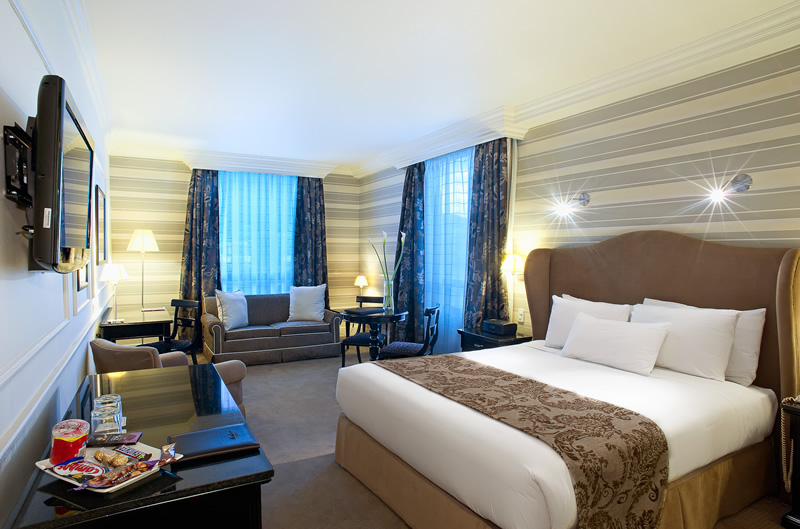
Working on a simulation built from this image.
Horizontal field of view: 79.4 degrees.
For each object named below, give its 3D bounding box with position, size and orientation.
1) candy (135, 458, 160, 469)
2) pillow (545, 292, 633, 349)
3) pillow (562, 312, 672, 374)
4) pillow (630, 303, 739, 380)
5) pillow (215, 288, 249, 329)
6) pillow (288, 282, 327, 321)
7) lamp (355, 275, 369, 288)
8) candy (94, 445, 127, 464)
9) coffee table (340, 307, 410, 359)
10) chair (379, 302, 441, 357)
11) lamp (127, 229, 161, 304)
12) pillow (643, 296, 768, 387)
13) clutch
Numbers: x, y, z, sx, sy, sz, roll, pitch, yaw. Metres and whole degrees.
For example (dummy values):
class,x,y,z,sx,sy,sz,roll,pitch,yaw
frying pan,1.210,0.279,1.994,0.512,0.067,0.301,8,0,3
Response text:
class,x,y,z,sx,sy,sz,roll,pitch,yaw
candy,-1.176,0.933,2.241,0.051,0.023,0.069,1,-5,1
pillow,1.712,0.514,4.306,0.179,0.371,0.502,16,-6,-33
pillow,1.783,0.635,3.956,0.180,0.415,0.605,36,-16,-30
pillow,2.238,0.632,3.753,0.200,0.381,0.562,12,-6,-35
pillow,-2.343,0.652,6.737,0.181,0.396,0.512,-9,-7,15
pillow,-1.399,0.599,7.337,0.526,0.499,0.184,-4,-30,-3
lamp,-0.613,0.294,8.094,0.217,0.195,0.211,-1,3,-21
candy,-1.353,0.906,2.265,0.134,0.051,0.085,29,-18,-39
coffee table,-0.262,0.794,6.254,0.748,0.743,0.812,1,1,41
chair,0.150,0.810,5.938,0.767,1.032,0.621,1,-4,10
lamp,-3.602,0.047,6.819,0.386,1.132,0.786,-3,4,-26
pillow,2.384,0.628,3.718,0.603,0.579,0.239,4,-9,44
clutch,-0.971,0.904,2.470,0.438,0.030,0.379,-3,1,-18
